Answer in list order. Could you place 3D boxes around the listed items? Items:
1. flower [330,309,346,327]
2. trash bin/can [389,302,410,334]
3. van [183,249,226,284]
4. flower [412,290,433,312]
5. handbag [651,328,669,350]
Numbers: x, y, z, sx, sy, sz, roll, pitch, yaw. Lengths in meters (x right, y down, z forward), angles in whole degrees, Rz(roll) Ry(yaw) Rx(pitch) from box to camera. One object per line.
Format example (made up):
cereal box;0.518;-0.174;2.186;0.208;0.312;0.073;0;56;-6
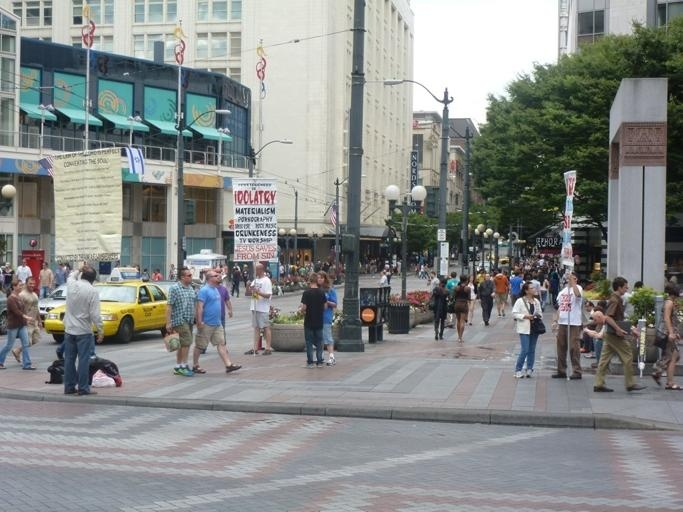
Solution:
flower;-0.102;1.829;31.939;0.368;0.269;0.354;1;-5;-34
trash bin/can;1.895;2.028;35.340;0.841;0.985;0.856;1;-3;-10
van;-6.200;0.509;50.534;1.798;1.897;3.012;0;-2;7
flower;2.994;1.719;40.967;0.729;0.774;0.751;1;-4;0
handbag;7.115;1.896;24.836;0.291;0.463;0.215;-2;0;17
